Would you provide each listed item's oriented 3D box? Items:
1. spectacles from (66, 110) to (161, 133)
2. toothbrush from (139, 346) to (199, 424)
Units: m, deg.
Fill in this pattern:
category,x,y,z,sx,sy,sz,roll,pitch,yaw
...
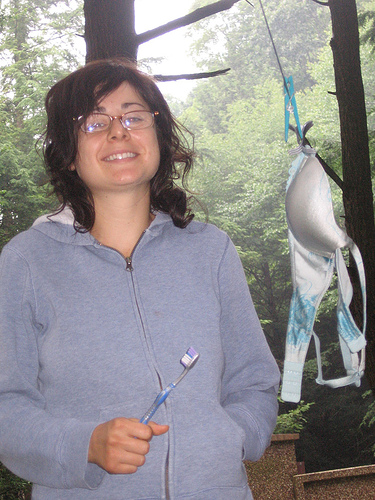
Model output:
category,x,y,z,sx,sy,sz,roll,pitch,yaw
spectacles,-0.200,-0.371,1.676,0.226,0.065,0.096,-10,14,-13
toothbrush,-0.034,0.324,1.444,0.093,0.137,0.261,0,16,35
